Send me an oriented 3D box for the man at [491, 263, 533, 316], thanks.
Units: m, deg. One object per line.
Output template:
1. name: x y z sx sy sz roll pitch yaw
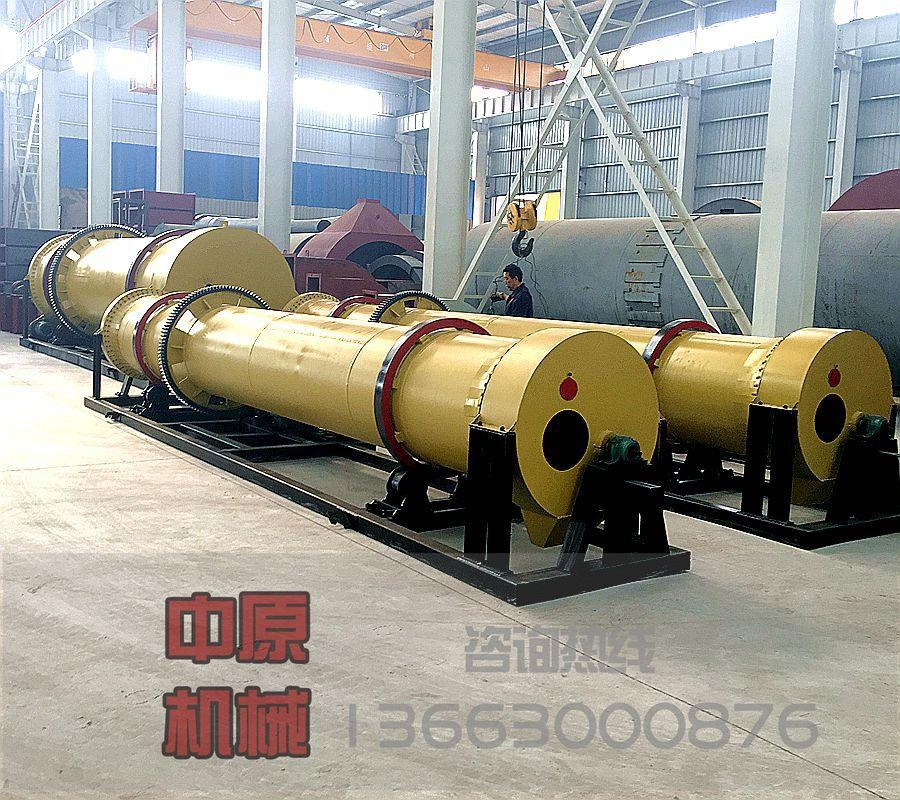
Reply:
1. man: 0.676 -0.982 7.923 0.319 0.756 0.511 -5 12 -13

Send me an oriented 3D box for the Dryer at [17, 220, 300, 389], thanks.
1. Dryer: -3.632 -1.282 8.990 2.959 1.173 1.170 8 -13 36
